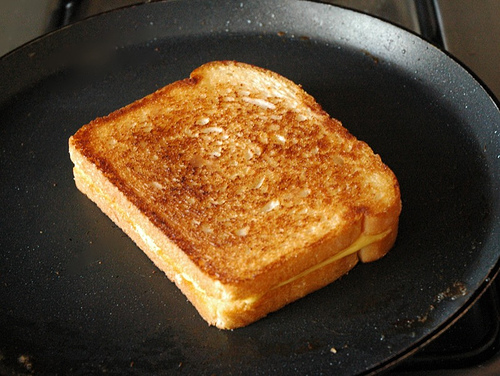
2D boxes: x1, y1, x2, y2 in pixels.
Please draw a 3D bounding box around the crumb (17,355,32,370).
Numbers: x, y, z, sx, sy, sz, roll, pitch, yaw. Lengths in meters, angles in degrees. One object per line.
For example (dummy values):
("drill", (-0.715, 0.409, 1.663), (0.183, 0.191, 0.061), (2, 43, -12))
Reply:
("crumb", (-0.721, 0.558, 1.794), (0.054, 0.032, 0.026), (29, 83, 4))
